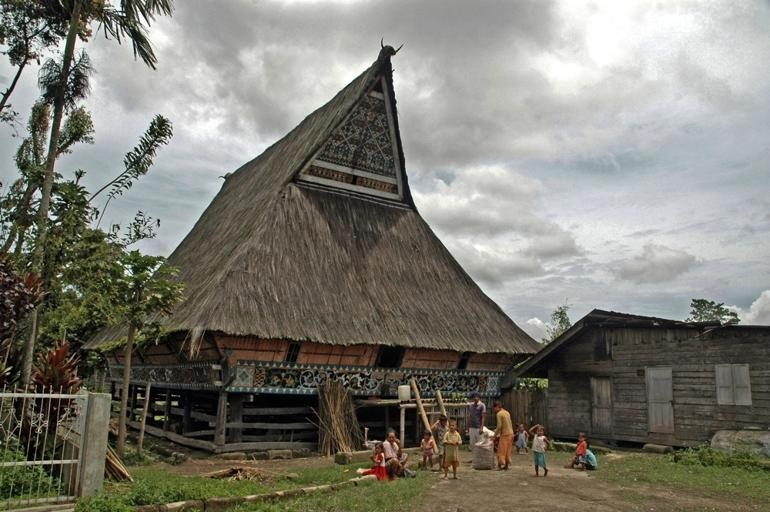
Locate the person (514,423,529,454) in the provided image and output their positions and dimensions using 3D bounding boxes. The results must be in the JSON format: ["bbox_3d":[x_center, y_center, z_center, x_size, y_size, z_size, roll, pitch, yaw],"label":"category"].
[{"bbox_3d":[4.929,6.604,17.453,0.379,0.946,1.065,-4,-20,13],"label":"person"}]

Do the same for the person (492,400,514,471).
[{"bbox_3d":[3.499,5.279,14.234,0.492,1.842,0.983,-4,-20,11],"label":"person"}]

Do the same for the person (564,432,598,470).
[{"bbox_3d":[5.812,5.736,14.152,0.606,0.944,0.806,5,-20,-14],"label":"person"}]

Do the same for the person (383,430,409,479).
[{"bbox_3d":[0.297,5.218,12.735,0.736,1.132,0.831,0,-9,5],"label":"person"}]

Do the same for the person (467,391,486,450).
[{"bbox_3d":[2.797,4.987,14.656,0.451,1.519,0.844,-3,-20,9],"label":"person"}]
